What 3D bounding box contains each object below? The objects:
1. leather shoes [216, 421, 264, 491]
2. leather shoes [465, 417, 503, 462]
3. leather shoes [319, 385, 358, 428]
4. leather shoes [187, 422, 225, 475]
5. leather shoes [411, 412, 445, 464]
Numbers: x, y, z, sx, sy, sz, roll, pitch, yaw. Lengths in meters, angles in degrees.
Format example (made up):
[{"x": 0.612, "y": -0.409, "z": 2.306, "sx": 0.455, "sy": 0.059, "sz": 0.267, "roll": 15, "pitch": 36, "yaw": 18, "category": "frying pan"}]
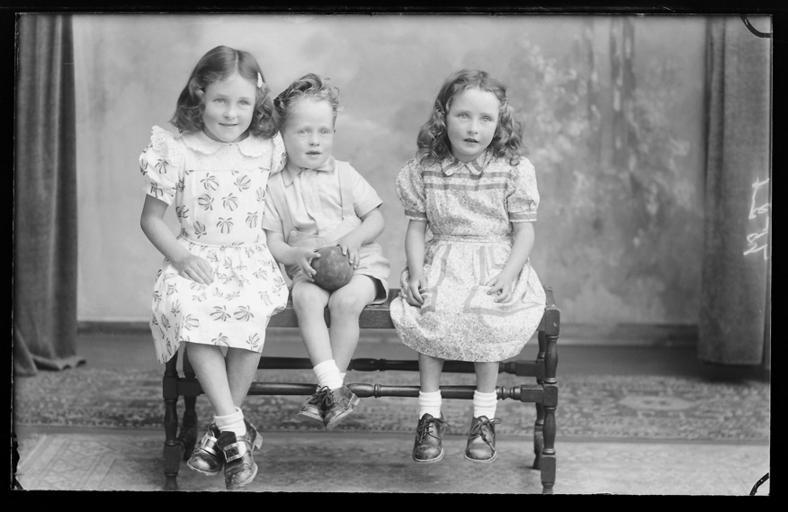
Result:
[{"x": -0.634, "y": 0.787, "z": 3.333, "sx": 0.132, "sy": 0.171, "sz": 0.363, "roll": -12, "pitch": 27, "yaw": 4, "category": "leather shoes"}, {"x": 0.365, "y": 0.783, "z": 3.409, "sx": 0.121, "sy": 0.222, "sz": 0.140, "roll": 2, "pitch": 10, "yaw": 5, "category": "leather shoes"}, {"x": -0.236, "y": 0.612, "z": 3.370, "sx": 0.124, "sy": 0.107, "sz": 0.270, "roll": -26, "pitch": 3, "yaw": 17, "category": "leather shoes"}, {"x": -0.761, "y": 0.776, "z": 3.364, "sx": 0.122, "sy": 0.134, "sz": 0.316, "roll": 16, "pitch": 12, "yaw": -6, "category": "leather shoes"}, {"x": 0.148, "y": 0.763, "z": 3.401, "sx": 0.121, "sy": 0.196, "sz": 0.122, "roll": 2, "pitch": 10, "yaw": 1, "category": "leather shoes"}]
